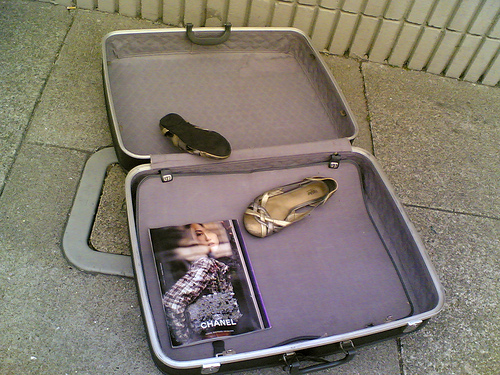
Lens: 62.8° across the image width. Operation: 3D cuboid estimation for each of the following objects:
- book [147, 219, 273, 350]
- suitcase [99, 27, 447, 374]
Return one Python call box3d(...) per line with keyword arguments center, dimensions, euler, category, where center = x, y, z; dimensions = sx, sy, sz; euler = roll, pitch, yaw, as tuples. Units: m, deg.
box3d(center=(-0.135, 0.294, 1.315), dimensions=(0.308, 0.056, 0.405), euler=(-12, 59, -14), category="book")
box3d(center=(-0.052, -0.087, 1.550), dimensions=(1.114, 0.343, 1.418), euler=(-9, 67, -15), category="suitcase")
